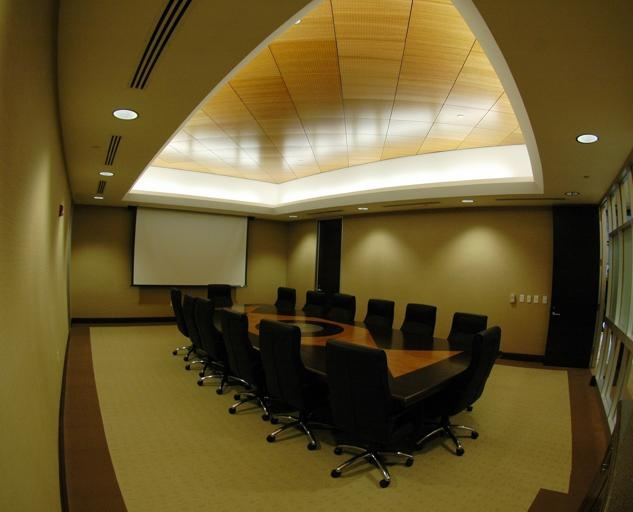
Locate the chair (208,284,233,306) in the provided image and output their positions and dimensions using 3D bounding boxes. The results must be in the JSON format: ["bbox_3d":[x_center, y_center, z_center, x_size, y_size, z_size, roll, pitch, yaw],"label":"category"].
[{"bbox_3d":[-1.727,0.694,8.220,0.376,0.584,0.543,1,-3,-20],"label":"chair"}]

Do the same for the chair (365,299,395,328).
[{"bbox_3d":[0.824,0.813,6.392,0.359,0.501,0.388,1,-1,32],"label":"chair"}]

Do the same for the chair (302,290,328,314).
[{"bbox_3d":[-0.025,0.756,7.559,0.297,0.468,0.378,1,2,27],"label":"chair"}]

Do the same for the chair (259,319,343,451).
[{"bbox_3d":[-0.415,1.185,4.829,0.984,1.421,1.030,3,-4,-37],"label":"chair"}]

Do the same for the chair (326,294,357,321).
[{"bbox_3d":[0.367,0.792,6.945,0.357,0.555,0.430,0,-12,35],"label":"chair"}]

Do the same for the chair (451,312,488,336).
[{"bbox_3d":[1.856,0.781,5.512,0.284,0.430,0.324,3,-7,33],"label":"chair"}]

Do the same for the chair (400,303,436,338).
[{"bbox_3d":[1.274,0.820,5.983,0.372,0.544,0.420,3,1,36],"label":"chair"}]

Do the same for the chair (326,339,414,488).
[{"bbox_3d":[0.467,1.282,4.048,0.708,1.182,0.731,4,7,17],"label":"chair"}]

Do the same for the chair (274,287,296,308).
[{"bbox_3d":[-0.529,0.719,8.060,0.305,0.435,0.315,1,0,23],"label":"chair"}]
